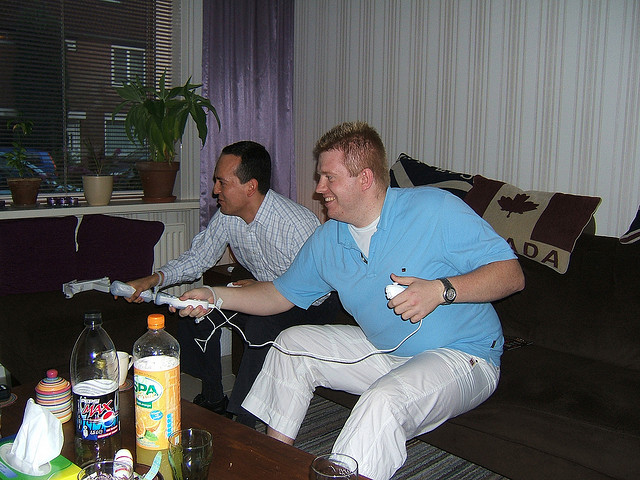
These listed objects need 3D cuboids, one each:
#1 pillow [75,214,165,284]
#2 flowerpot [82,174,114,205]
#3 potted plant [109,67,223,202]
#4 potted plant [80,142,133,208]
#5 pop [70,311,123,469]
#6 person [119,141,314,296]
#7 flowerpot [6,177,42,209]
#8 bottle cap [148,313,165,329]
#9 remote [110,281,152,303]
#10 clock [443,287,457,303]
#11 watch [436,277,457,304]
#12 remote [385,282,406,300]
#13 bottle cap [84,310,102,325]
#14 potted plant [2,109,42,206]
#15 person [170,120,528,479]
[{"bbox_3d":[-1.208,0.050,2.884,0.419,0.450,0.143,2,-5,-20],"label":"pillow"},{"bbox_3d":[-1.413,-0.318,3.027,0.173,0.173,0.184,-2,7,-34],"label":"flowerpot"},{"bbox_3d":[-1.034,-0.717,3.542,0.867,1.018,0.845,10,13,40],"label":"potted plant"},{"bbox_3d":[-1.441,-0.395,3.101,0.227,0.274,0.205,11,14,16],"label":"potted plant"},{"bbox_3d":[-0.590,0.419,1.279,0.133,0.488,0.135,-3,13,-27],"label":"pop"},{"bbox_3d":[-0.553,-0.125,2.634,1.076,0.745,0.508,0,9,-14],"label":"person"},{"bbox_3d":[-1.766,-0.279,2.832,0.178,0.168,0.173,-5,16,-20],"label":"flowerpot"},{"bbox_3d":[-0.420,0.204,1.227,0.035,0.025,0.037,12,6,34],"label":"bottle cap"},{"bbox_3d":[-0.679,0.189,1.694,0.144,0.079,0.039,12,-9,-27],"label":"remote"},{"bbox_3d":[0.429,0.182,1.582,0.036,0.054,0.048,-5,14,-19],"label":"clock"},{"bbox_3d":[0.427,0.169,1.633,0.047,0.084,0.075,1,-6,-26],"label":"watch"},{"bbox_3d":[0.248,0.169,1.560,0.058,0.056,0.043,-3,-3,-26],"label":"remote"},{"bbox_3d":[-0.590,0.201,1.235,0.035,0.027,0.037,3,0,-6],"label":"bottle cap"},{"bbox_3d":[-1.842,-0.514,2.947,0.175,0.547,0.409,-7,17,-29],"label":"potted plant"},{"bbox_3d":[0.164,0.138,1.764,0.976,1.083,0.766,13,19,36],"label":"person"}]
